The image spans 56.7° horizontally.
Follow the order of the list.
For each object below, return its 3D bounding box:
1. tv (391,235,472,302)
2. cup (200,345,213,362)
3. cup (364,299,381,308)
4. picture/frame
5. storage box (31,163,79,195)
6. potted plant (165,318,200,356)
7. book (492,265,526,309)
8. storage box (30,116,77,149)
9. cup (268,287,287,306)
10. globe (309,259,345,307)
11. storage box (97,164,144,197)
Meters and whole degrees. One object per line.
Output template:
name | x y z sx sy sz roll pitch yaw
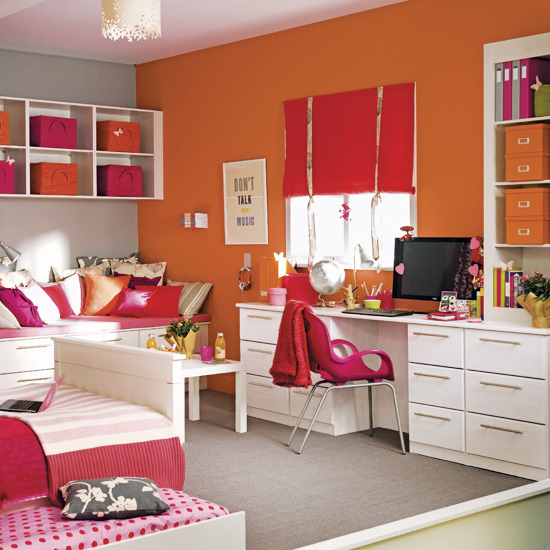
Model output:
tv | 1.233 -0.051 3.940 0.555 0.386 0.046 3 5 42
cup | -0.566 0.671 4.322 0.120 0.125 0.115 1 0 0
cup | 0.810 0.231 4.234 0.093 0.061 0.089 0 3 0
picture/frame | -0.329 -0.776 5.502 0.150 0.922 0.725 -4 7 -38
storage box | -2.534 -1.040 5.864 0.453 0.328 0.427 -2 4 -39
potted plant | -0.855 0.541 4.498 0.355 0.346 0.360 0 3 13
book | 1.560 0.074 3.450 0.247 0.329 0.292 2 2 40
storage box | -2.490 -1.618 5.806 0.422 0.352 0.134 -3 7 -32
cup | 0.023 0.198 4.671 0.160 0.136 0.153 1 0 0
globe | 0.433 0.033 4.421 0.314 0.350 0.302 2 2 2
storage box | -1.865 -1.142 6.228 0.470 0.324 0.453 -1 3 -36
